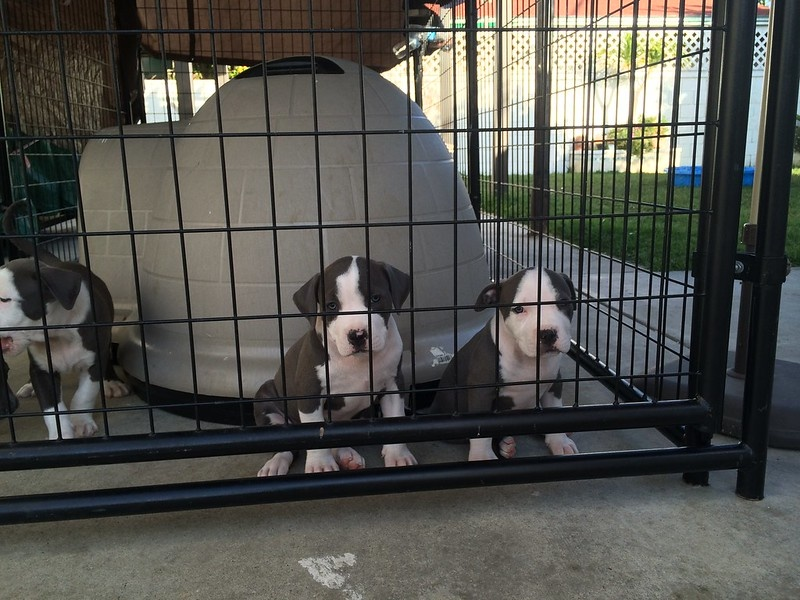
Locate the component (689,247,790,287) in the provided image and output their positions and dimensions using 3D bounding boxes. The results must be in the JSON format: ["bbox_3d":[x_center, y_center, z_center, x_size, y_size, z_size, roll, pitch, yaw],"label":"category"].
[{"bbox_3d":[1.224,-0.124,2.134,0.218,0.080,0.171,0,3,-1],"label":"component"}]

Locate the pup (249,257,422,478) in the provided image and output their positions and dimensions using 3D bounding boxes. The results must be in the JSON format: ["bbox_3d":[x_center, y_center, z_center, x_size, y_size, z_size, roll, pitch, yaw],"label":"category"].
[{"bbox_3d":[-0.299,0.262,2.524,0.659,0.868,1.027,-2,0,-23],"label":"pup"}]

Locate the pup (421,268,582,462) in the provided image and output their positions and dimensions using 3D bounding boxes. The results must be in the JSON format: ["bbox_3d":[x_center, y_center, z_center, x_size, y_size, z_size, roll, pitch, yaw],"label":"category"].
[{"bbox_3d":[0.461,0.235,2.543,0.474,0.810,0.831,-4,8,-21],"label":"pup"}]
